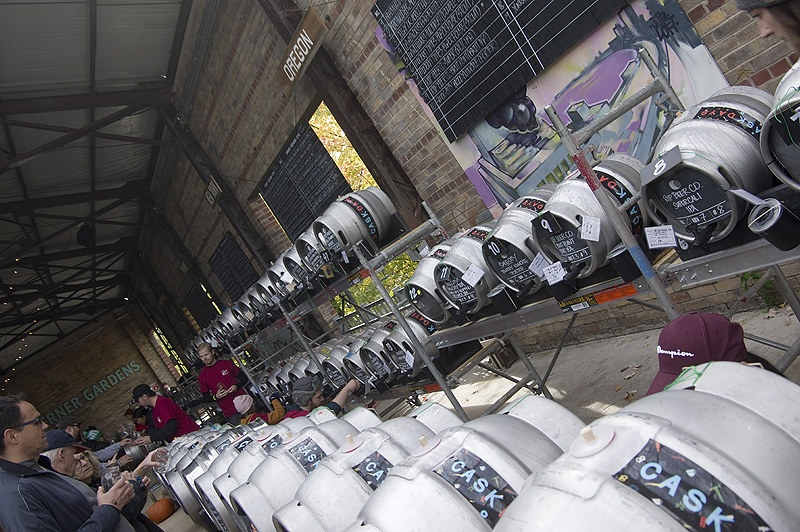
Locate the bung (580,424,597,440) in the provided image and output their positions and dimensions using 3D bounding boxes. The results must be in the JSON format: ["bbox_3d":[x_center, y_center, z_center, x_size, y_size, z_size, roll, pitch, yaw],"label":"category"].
[{"bbox_3d":[0.546,0.469,1.245,0.035,0.039,0.036,-10,27,45],"label":"bung"}]

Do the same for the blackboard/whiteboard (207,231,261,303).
[{"bbox_3d":[-4.267,0.058,11.001,1.749,1.274,0.113,-29,5,42],"label":"blackboard/whiteboard"}]

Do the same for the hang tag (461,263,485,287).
[{"bbox_3d":[0.505,0.073,3.041,0.145,0.151,0.035,-56,-18,15],"label":"hang tag"}]

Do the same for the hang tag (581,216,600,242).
[{"bbox_3d":[1.055,-0.210,2.384,0.029,0.121,0.124,4,13,37],"label":"hang tag"}]

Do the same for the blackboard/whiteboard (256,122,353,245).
[{"bbox_3d":[-1.781,-1.401,7.698,1.928,1.326,0.090,-39,-6,40],"label":"blackboard/whiteboard"}]
